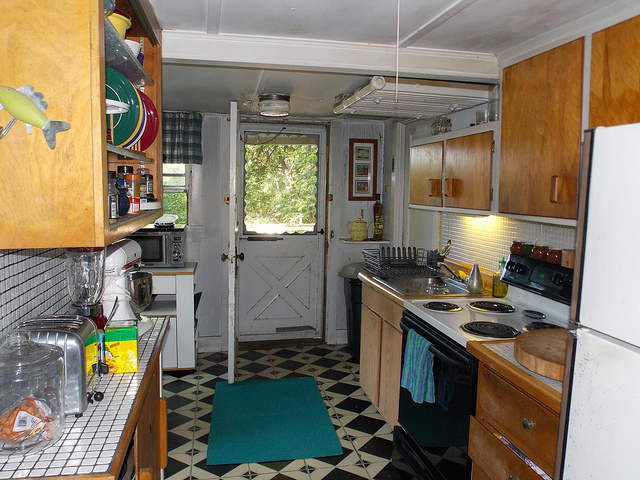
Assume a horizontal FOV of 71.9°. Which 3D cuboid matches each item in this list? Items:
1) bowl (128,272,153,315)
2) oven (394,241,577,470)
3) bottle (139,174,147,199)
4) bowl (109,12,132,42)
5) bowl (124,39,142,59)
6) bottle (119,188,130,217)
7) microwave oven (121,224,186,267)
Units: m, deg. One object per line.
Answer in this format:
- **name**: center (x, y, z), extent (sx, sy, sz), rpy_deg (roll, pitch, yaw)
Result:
- **bowl**: center (-1.004, 0.273, 2.486), extent (0.060, 0.233, 0.220), rpy_deg (2, 8, 6)
- **oven**: center (1.034, 0.578, 3.168), extent (1.174, 1.739, 1.078), rpy_deg (3, 5, -10)
- **bottle**: center (-0.984, -0.301, 2.469), extent (0.029, 0.130, 0.083), rpy_deg (-2, 9, -18)
- **bowl**: center (-0.908, -0.964, 2.018), extent (0.065, 0.112, 0.120), rpy_deg (1, 8, 3)
- **bowl**: center (-0.928, -0.954, 2.204), extent (0.063, 0.089, 0.140), rpy_deg (-2, 9, -20)
- **bottle**: center (-0.905, -0.177, 2.045), extent (0.037, 0.124, 0.099), rpy_deg (-3, 9, -23)
- **microwave oven**: center (-1.670, 0.051, 4.392), extent (0.604, 0.396, 0.409), rpy_deg (0, 9, -16)
